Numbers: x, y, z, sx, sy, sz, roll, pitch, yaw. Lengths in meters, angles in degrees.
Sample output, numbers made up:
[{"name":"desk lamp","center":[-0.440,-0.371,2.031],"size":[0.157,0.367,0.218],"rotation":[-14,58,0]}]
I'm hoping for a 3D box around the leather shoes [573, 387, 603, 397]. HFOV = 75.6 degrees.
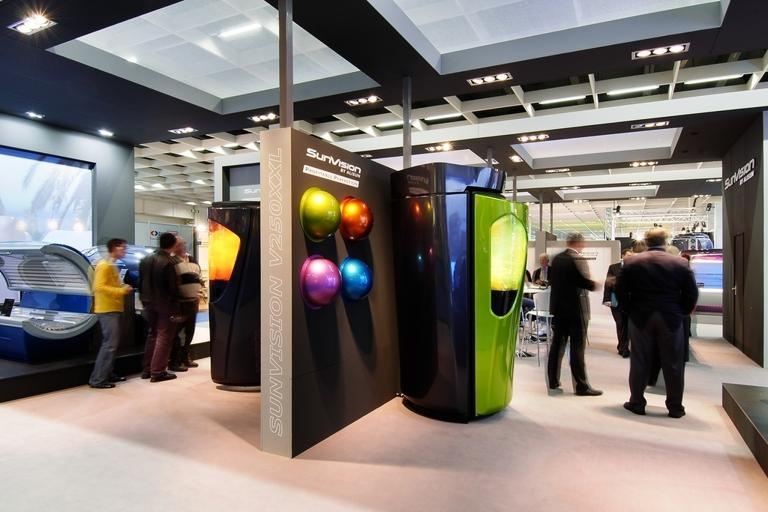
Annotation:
[{"name":"leather shoes","center":[2.755,1.855,6.815],"size":[0.397,0.172,0.136],"rotation":[-5,-5,2]}]
